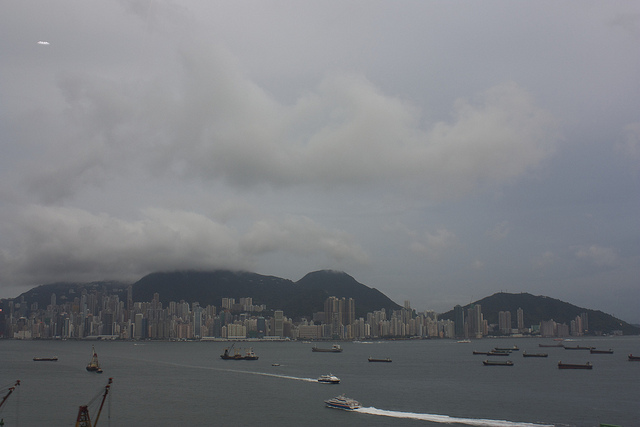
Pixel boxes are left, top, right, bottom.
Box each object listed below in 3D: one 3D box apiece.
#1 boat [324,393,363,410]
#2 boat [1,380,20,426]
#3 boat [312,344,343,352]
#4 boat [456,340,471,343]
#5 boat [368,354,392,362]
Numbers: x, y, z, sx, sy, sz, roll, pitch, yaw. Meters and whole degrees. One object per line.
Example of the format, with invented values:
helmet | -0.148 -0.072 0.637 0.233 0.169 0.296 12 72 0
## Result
boat | 3.945 33.858 144.242 7.243 2.684 2.352 -2 -4 17
boat | -52.929 31.934 136.156 2.114 8.257 25.043 6 -17 -19
boat | 2.807 48.413 287.812 10.798 3.231 8.388 11 -19 -32
boat | 73.721 65.372 409.735 8.119 1.811 4.733 1 -7 -12
boat | 16.897 41.106 224.470 6.611 1.587 6.741 0 -16 3
